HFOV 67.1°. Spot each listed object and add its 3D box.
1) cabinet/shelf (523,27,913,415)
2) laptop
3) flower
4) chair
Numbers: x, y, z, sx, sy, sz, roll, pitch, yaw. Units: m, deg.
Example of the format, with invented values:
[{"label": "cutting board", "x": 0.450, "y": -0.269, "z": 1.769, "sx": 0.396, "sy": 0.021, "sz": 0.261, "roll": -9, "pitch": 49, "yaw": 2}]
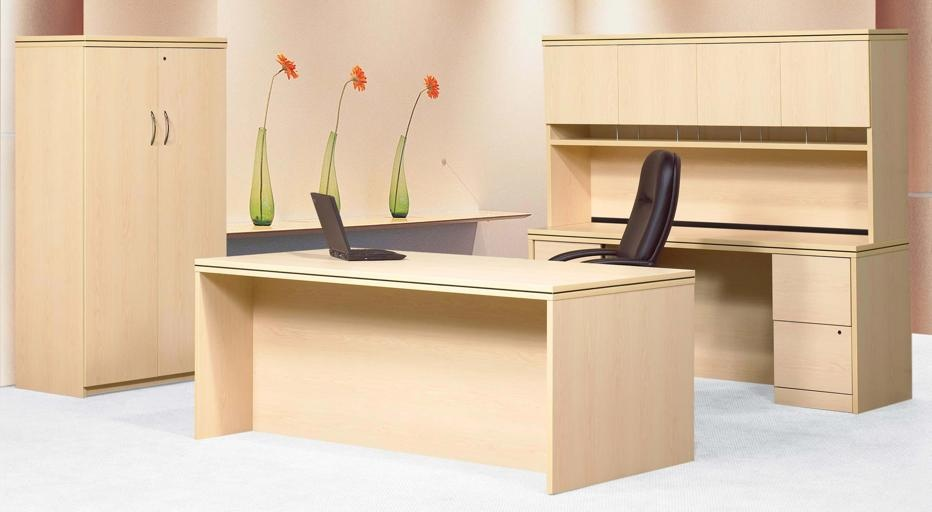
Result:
[{"label": "cabinet/shelf", "x": 2.202, "y": -0.283, "z": 5.815, "sx": 3.719, "sy": 3.216, "sz": 1.198, "roll": 2, "pitch": 5, "yaw": 41}, {"label": "laptop", "x": -0.772, "y": -0.247, "z": 5.110, "sx": 0.586, "sy": 0.375, "sz": 0.583, "roll": -2, "pitch": 4, "yaw": -19}, {"label": "flower", "x": -1.614, "y": -1.247, "z": 7.606, "sx": 1.404, "sy": 1.902, "sz": 0.784, "roll": 2, "pitch": 2, "yaw": -30}, {"label": "chair", "x": 1.428, "y": -0.428, "z": 6.146, "sx": 1.204, "sy": 1.249, "sz": 0.942, "roll": 2, "pitch": 3, "yaw": -14}]
